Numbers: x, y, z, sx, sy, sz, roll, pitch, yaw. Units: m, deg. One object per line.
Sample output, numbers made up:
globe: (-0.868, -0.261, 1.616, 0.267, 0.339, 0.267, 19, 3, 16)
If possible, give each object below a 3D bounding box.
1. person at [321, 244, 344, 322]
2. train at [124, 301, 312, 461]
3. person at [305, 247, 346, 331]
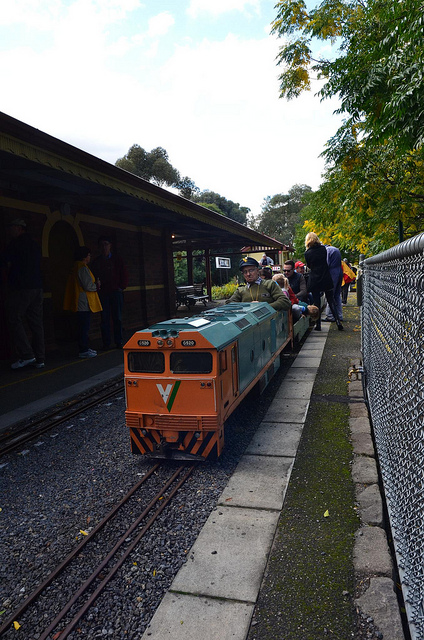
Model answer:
person: (3.106, -0.974, 10.547, 0.789, 2.082, 0.482, 7, -10, -34)
train: (0.321, 0.399, 4.930, 0.702, 1.244, 3.791, -2, 4, 19)
person: (2.517, -1.024, 9.501, 0.566, 2.579, 0.708, -3, 34, 22)
